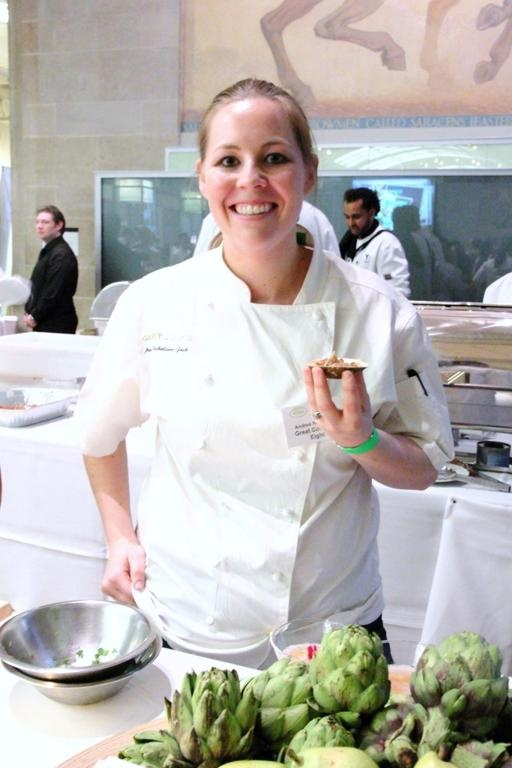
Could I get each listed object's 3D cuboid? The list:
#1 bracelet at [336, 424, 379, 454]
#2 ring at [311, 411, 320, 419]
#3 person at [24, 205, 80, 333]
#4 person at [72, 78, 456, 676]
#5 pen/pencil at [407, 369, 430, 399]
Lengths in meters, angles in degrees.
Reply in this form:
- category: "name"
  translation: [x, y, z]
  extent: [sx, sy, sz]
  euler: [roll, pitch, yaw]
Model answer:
- category: "bracelet"
  translation: [0.141, 0.078, 0.850]
  extent: [0.041, 0.040, 0.052]
  euler: [1, 8, 22]
- category: "ring"
  translation: [0.082, 0.043, 0.856]
  extent: [0.011, 0.008, 0.014]
  euler: [-3, -24, 2]
- category: "person"
  translation: [-1.934, -1.066, 5.986]
  extent: [0.492, 1.211, 0.469]
  euler: [-4, 8, -14]
- category: "person"
  translation: [-0.001, -0.016, 1.032]
  extent: [0.569, 0.871, 0.371]
  euler: [5, 11, 40]
- category: "pen/pencil"
  translation: [0.249, 0.004, 0.982]
  extent: [0.016, 0.042, 0.027]
  euler: [-30, 30, 9]
